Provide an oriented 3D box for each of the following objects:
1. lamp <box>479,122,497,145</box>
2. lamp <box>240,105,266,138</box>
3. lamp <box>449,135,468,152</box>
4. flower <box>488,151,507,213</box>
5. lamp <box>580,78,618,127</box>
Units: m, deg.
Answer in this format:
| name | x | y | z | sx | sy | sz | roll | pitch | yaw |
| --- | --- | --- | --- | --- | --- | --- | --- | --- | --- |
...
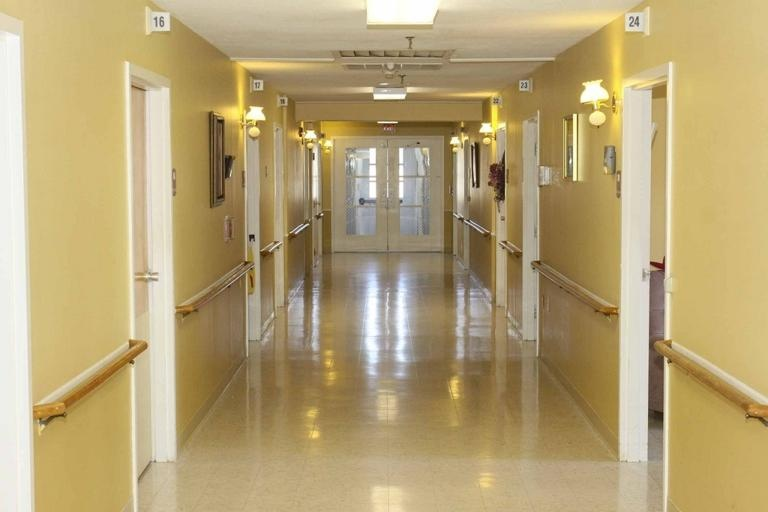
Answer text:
| name | x | y | z | sx | sy | sz | roll | pitch | yaw |
| --- | --- | --- | --- | --- | --- | --- | --- | --- | --- |
| lamp | 2.004 | -2.451 | 10.952 | 0.427 | 0.504 | 0.384 | 2 | 2 | 1 |
| lamp | -1.795 | -1.840 | 7.627 | 0.289 | 0.407 | 0.290 | 2 | 3 | 21 |
| lamp | 1.933 | -2.994 | 14.487 | 0.470 | 0.601 | 0.396 | 3 | 0 | 2 |
| flower | 2.064 | -1.449 | 10.034 | 0.177 | 0.873 | 0.521 | -2 | 11 | -12 |
| lamp | 2.031 | -1.487 | 5.334 | 0.294 | 0.463 | 0.590 | 3 | 11 | 14 |
